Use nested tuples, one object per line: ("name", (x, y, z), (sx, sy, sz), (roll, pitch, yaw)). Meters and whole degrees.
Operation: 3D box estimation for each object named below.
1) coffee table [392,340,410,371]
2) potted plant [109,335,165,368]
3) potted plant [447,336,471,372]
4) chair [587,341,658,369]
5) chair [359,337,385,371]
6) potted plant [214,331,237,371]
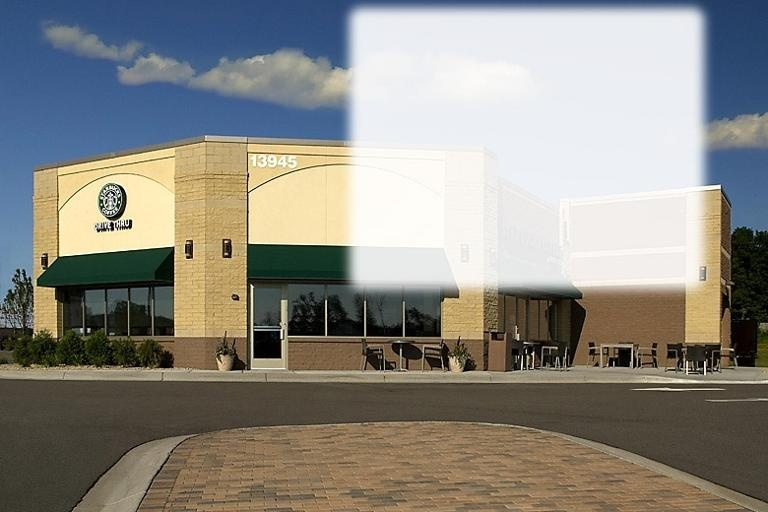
("coffee table", (0.640, 3.576, 31.547), (0.517, 1.080, 0.475), (-6, -7, 40))
("potted plant", (-8.736, 3.409, 30.990), (1.445, 0.865, 1.103), (1, -1, 4))
("potted plant", (2.723, 3.628, 31.462), (1.026, 1.566, 1.031), (0, -3, 1))
("chair", (10.366, 4.260, 37.795), (2.958, 1.129, 1.923), (-4, -7, 20))
("chair", (-0.352, 3.538, 31.263), (0.873, 1.096, 0.868), (1, 2, -20))
("potted plant", (-5.488, 3.298, 30.461), (0.704, 1.367, 0.478), (0, -6, -13))
